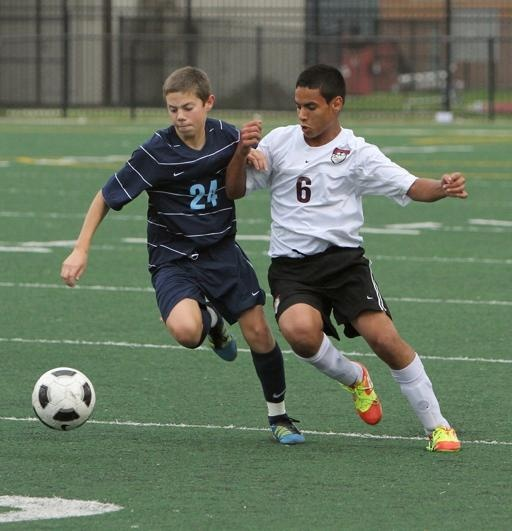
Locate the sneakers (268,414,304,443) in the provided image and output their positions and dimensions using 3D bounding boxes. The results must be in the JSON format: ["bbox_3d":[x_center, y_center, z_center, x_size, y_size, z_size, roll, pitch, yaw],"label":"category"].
[{"bbox_3d":[0.151,0.823,4.336,0.101,0.072,0.199,-6,3,-33],"label":"sneakers"}]

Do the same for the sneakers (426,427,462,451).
[{"bbox_3d":[0.906,0.837,4.141,0.126,0.058,0.149,1,7,3],"label":"sneakers"}]

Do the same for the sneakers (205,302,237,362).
[{"bbox_3d":[-0.196,0.385,4.667,0.146,0.357,0.148,-17,53,6],"label":"sneakers"}]

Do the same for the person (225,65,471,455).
[{"bbox_3d":[0.479,-0.071,4.266,1.020,1.821,0.782,1,16,4],"label":"person"}]
